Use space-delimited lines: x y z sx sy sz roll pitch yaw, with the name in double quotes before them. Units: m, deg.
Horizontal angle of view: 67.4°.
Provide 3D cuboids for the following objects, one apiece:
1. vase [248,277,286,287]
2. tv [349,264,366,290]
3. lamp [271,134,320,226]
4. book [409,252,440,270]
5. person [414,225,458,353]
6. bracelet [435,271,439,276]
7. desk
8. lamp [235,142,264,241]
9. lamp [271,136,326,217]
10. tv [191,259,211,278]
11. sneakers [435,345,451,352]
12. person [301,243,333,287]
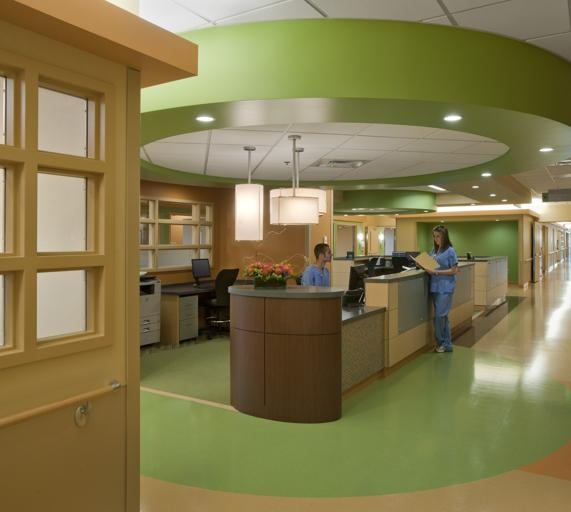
"vase" -0.159 0.263 4.119 0.309 0.091 0.164 0 1 3
"tv" 0.938 0.294 5.608 0.106 0.366 0.349 9 10 26
"lamp" 0.132 -0.907 5.715 0.659 1.291 0.706 -5 -17 23
"book" 2.078 0.068 6.430 0.331 0.242 0.095 37 38 1
"person" 2.291 0.509 6.486 0.624 1.890 0.490 0 1 4
"bracelet" 2.219 0.270 6.318 0.046 0.016 0.049 10 32 33
"desk" -1.571 0.965 7.031 0.696 0.697 1.304 0 1 25
"lamp" -0.468 -0.564 5.591 0.348 0.716 0.191 0 1 -14
"lamp" 0.119 -0.904 5.548 0.620 0.996 0.626 -5 7 -43
"tv" -1.585 0.244 7.950 0.107 0.342 0.313 -8 -6 38
"sneakers" 2.388 1.427 6.493 0.226 0.110 0.098 7 -3 -3
"person" 0.379 0.123 5.373 0.355 0.536 1.078 0 1 6
